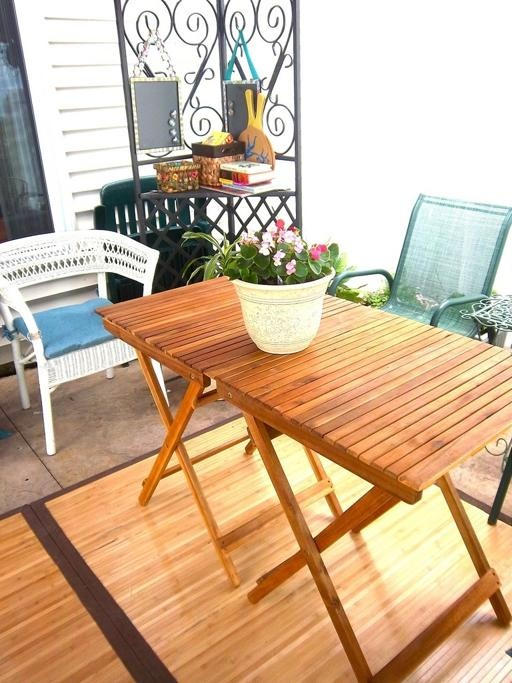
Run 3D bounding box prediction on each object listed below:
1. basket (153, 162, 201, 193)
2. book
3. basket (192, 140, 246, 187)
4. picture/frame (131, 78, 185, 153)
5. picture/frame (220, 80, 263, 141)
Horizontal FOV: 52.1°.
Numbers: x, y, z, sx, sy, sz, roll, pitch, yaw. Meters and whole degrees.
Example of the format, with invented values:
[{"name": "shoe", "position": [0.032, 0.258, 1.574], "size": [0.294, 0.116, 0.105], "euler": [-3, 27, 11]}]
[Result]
[{"name": "basket", "position": [-0.438, -0.935, 2.888], "size": [0.230, 0.139, 0.190], "euler": [-20, 36, -30]}, {"name": "book", "position": [-0.041, -0.891, 2.850], "size": [0.377, 0.147, 0.303], "euler": [-10, 30, -25]}, {"name": "basket", "position": [-0.219, -1.018, 2.991], "size": [0.182, 0.202, 0.224], "euler": [17, 31, 34]}, {"name": "picture/frame", "position": [-0.518, -1.183, 2.715], "size": [0.379, 0.404, 0.019], "euler": [-24, 37, -36]}, {"name": "picture/frame", "position": [-0.088, -1.285, 2.899], "size": [0.209, 0.270, 0.039], "euler": [17, 33, 28]}]
